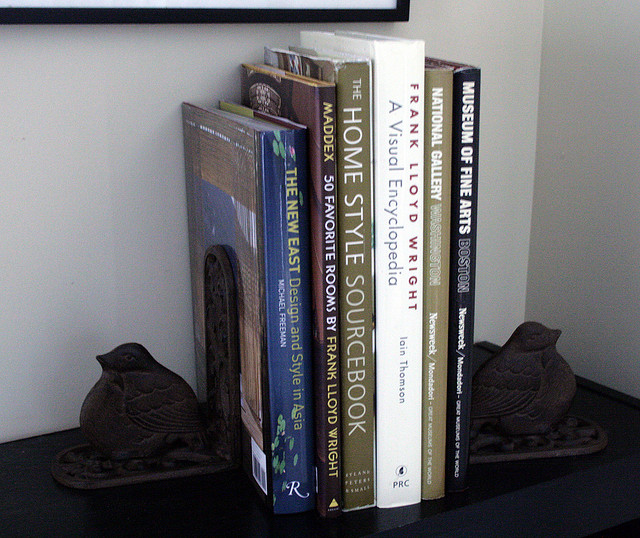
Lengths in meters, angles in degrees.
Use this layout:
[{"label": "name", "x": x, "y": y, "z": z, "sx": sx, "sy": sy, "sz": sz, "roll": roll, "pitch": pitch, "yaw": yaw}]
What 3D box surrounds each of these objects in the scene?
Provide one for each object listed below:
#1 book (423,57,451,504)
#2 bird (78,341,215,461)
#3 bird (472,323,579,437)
[{"label": "book", "x": 0.120, "y": 0.027, "z": 0.714, "sx": 0.028, "sy": 0.445, "sz": 0.027, "roll": -2, "pitch": 12, "yaw": 1}, {"label": "bird", "x": -0.208, "y": 0.154, "z": 0.834, "sx": 0.144, "sy": 0.128, "sz": 0.097, "roll": 2, "pitch": -5, "yaw": -18}, {"label": "bird", "x": 0.234, "y": 0.132, "z": 0.872, "sx": 0.137, "sy": 0.122, "sz": 0.089, "roll": -7, "pitch": 6, "yaw": -8}]
